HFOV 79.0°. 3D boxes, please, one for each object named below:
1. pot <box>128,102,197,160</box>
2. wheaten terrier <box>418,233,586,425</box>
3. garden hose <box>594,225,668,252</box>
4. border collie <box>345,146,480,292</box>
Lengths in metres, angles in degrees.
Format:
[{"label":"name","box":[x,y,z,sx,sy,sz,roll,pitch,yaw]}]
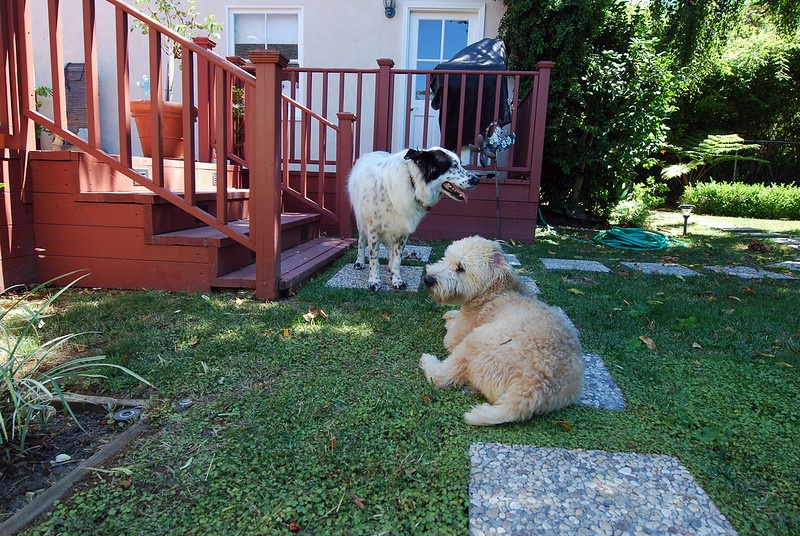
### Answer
[{"label":"pot","box":[-2.642,-1.515,5.430,0.655,0.531,0.657,2,6,0]},{"label":"wheaten terrier","box":[0.538,0.310,2.749,0.705,0.883,0.833,-5,13,-31]},{"label":"garden hose","box":[3.114,-0.392,6.503,0.938,0.224,0.657,7,12,28]},{"label":"border collie","box":[-0.050,-0.493,4.592,0.682,1.289,1.433,-8,16,-43]}]
